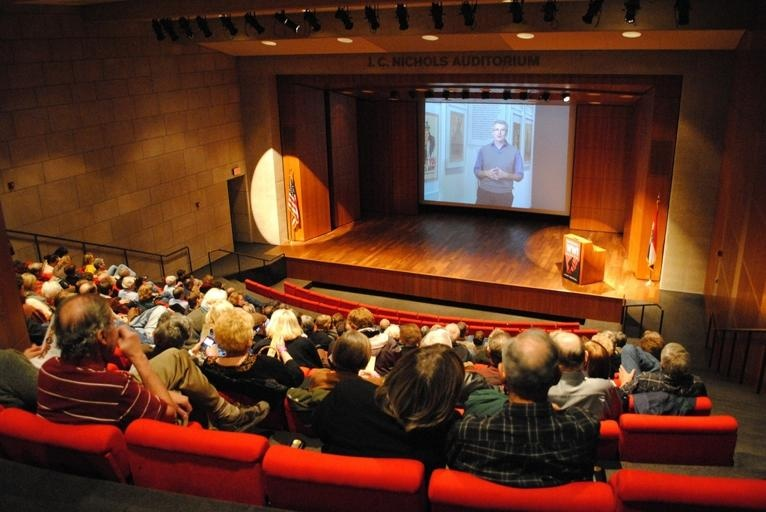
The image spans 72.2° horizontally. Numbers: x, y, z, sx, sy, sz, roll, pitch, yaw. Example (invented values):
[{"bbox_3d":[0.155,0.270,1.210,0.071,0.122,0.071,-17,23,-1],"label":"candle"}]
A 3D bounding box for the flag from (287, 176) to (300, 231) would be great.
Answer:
[{"bbox_3d":[-2.465,-1.489,14.736,0.352,1.507,0.160,-1,11,-26],"label":"flag"}]

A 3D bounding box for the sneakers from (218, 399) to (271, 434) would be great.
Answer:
[{"bbox_3d":[-1.087,1.247,4.161,0.465,0.197,0.158,-12,35,-43],"label":"sneakers"}]
